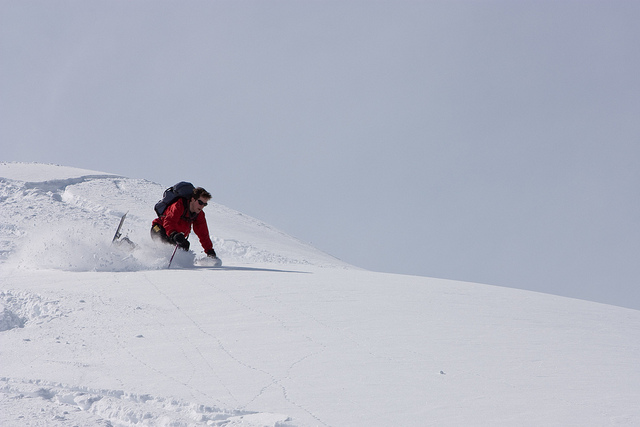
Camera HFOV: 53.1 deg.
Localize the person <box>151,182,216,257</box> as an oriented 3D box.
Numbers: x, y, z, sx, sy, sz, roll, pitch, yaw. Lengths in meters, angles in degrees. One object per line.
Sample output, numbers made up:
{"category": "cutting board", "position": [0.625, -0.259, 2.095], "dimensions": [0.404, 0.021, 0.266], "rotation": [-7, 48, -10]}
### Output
{"category": "person", "position": [-2.703, 0.151, 12.778], "dimensions": [1.122, 1.537, 1.013], "rotation": [-7, 12, -35]}
